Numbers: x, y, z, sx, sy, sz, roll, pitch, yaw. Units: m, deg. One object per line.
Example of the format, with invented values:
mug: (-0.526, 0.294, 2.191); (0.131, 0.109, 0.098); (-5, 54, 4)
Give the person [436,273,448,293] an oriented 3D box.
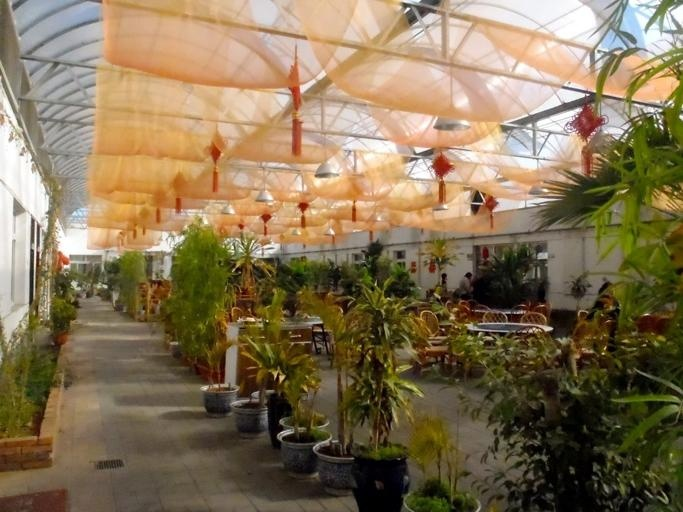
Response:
person: (3.492, 0.897, 15.995); (0.283, 0.420, 0.987); (-17, -18, 1)
